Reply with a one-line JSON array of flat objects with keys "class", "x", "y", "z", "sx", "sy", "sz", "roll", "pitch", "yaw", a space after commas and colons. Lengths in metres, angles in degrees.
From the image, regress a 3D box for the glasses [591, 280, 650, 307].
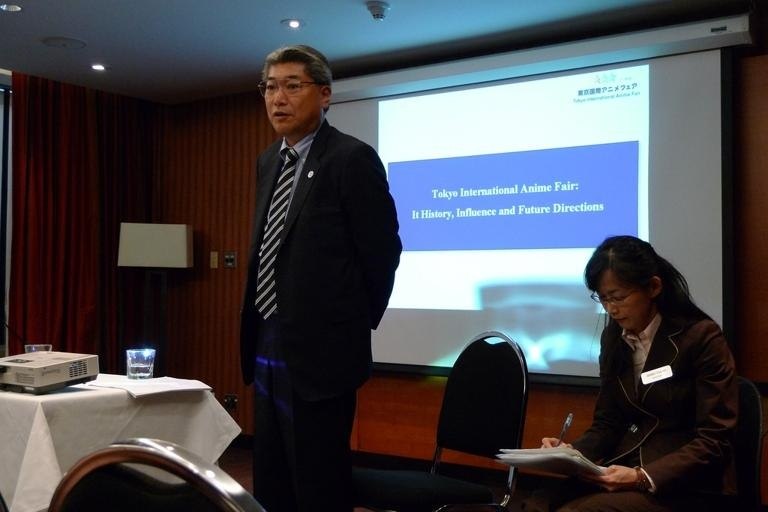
[{"class": "glasses", "x": 1.024, "y": 0.166, "z": 2.557, "sx": 0.115, "sy": 0.036, "sz": 0.116, "roll": -14, "pitch": -9, "yaw": -30}]
